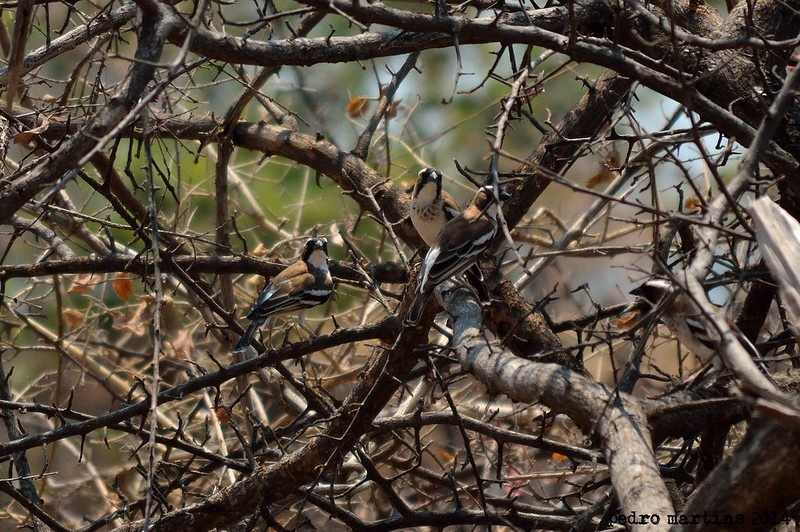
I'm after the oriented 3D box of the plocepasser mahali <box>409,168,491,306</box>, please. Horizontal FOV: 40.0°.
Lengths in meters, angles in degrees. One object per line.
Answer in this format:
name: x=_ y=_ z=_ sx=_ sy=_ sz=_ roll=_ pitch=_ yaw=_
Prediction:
plocepasser mahali: x=0.373 y=-0.268 z=10.063 sx=0.806 sy=0.967 sz=1.153 roll=3 pitch=-92 yaw=1
